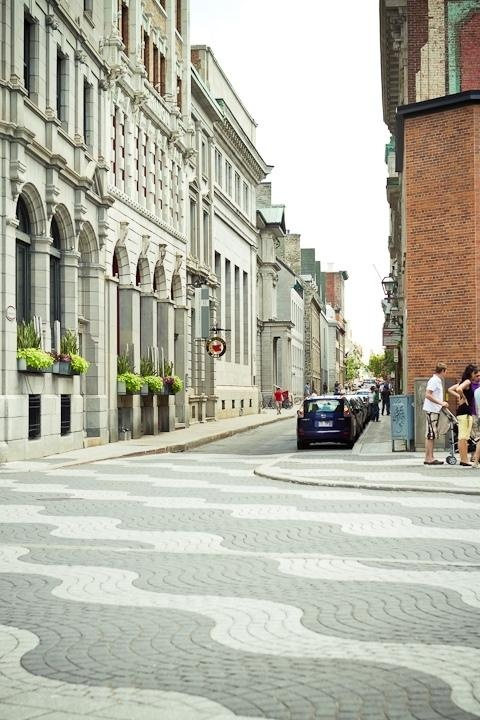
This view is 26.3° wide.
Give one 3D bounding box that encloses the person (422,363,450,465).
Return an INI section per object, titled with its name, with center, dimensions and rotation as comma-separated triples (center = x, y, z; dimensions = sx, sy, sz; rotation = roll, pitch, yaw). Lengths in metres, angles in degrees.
[person]
center = 3.177, 0.913, 16.884
dimensions = 0.382, 1.654, 0.689
rotation = -2, -3, 10

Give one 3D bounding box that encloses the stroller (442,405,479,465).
[stroller]
center = 3.790, 1.366, 18.285
dimensions = 0.864, 1.375, 0.802
rotation = 0, 0, 3
